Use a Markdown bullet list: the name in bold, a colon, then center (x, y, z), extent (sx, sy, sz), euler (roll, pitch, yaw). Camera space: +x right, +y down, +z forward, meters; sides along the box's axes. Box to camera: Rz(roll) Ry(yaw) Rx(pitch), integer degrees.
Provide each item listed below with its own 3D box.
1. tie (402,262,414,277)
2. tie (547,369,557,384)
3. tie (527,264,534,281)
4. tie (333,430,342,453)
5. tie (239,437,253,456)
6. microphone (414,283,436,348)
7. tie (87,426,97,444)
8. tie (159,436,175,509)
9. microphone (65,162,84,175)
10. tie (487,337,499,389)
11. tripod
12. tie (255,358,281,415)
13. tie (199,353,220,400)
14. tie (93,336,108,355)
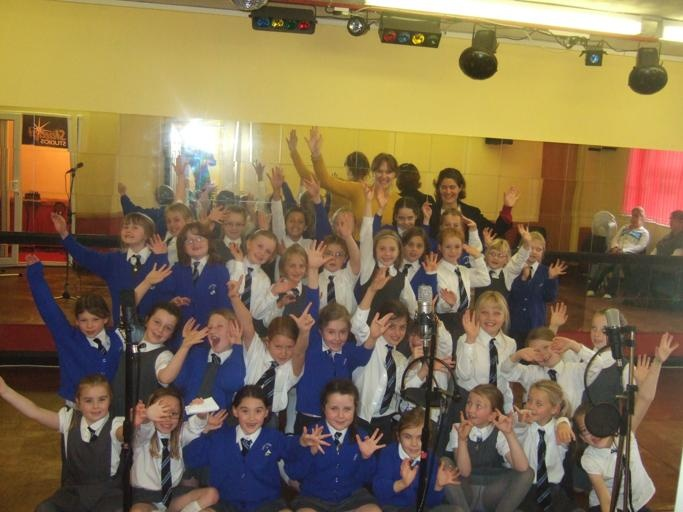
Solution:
- **tie**: center (0.495, 0.103, 5.015), extent (0.054, 0.099, 0.024), euler (9, -17, -3)
- **tie**: center (1.560, 0.890, 4.892), extent (0.063, 0.068, 0.109), euler (4, 11, 13)
- **tie**: center (1.480, 0.131, 5.203), extent (0.078, 0.111, 0.035), euler (7, -10, -7)
- **tie**: center (-0.024, 1.163, 4.141), extent (0.052, 0.101, 0.030), euler (2, -14, -7)
- **tie**: center (-0.594, 1.186, 4.094), extent (0.074, 0.089, 0.039), euler (2, 10, 3)
- **microphone**: center (0.488, 0.358, 3.813), extent (0.101, 0.408, 0.250), euler (3, 10, 7)
- **tie**: center (-1.565, 1.139, 4.159), extent (0.054, 0.077, 0.018), euler (-3, -5, 5)
- **tie**: center (-1.075, 1.335, 4.063), extent (0.062, 0.385, 0.135), euler (-1, 11, -15)
- **microphone**: center (-1.956, -0.646, 4.858), extent (0.125, 0.096, 0.009), euler (1, 10, -5)
- **tie**: center (1.113, 0.778, 4.846), extent (0.076, 0.307, 0.174), euler (4, 11, 12)
- **tripod**: center (-1.970, -0.184, 4.805), extent (0.142, 0.967, 0.282), euler (1, 11, -6)
- **tie**: center (-0.510, 0.869, 4.498), extent (0.128, 0.279, 0.132), euler (3, 11, 10)
- **tie**: center (-0.886, 0.826, 4.516), extent (0.124, 0.267, 0.140), euler (9, 13, 36)
- **tie**: center (-1.694, 0.632, 4.637), extent (0.070, 0.115, 0.028), euler (-30, -14, -26)
